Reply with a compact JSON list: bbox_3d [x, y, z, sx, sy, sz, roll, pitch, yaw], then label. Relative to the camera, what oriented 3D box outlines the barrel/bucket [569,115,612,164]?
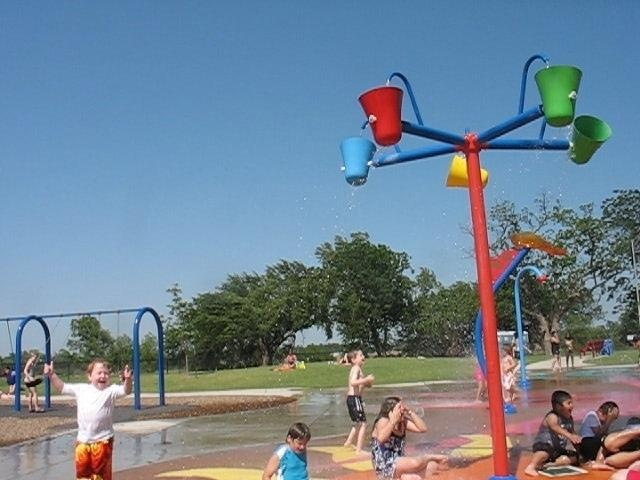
[{"bbox_3d":[3.881,-1.449,8.761,0.492,0.597,0.411,-5,-11,0],"label":"barrel/bucket"}]

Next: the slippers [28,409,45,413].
[{"bbox_3d":[-8.938,5.368,19.092,0.224,0.097,0.242,2,-7,1],"label":"slippers"}]

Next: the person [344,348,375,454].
[{"bbox_3d":[0.744,2.873,11.085,0.749,1.864,0.582,-3,-6,33],"label":"person"}]

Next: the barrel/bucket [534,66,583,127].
[{"bbox_3d":[3.308,-1.981,8.351,0.558,0.765,0.409,-2,-11,-14],"label":"barrel/bucket"}]
